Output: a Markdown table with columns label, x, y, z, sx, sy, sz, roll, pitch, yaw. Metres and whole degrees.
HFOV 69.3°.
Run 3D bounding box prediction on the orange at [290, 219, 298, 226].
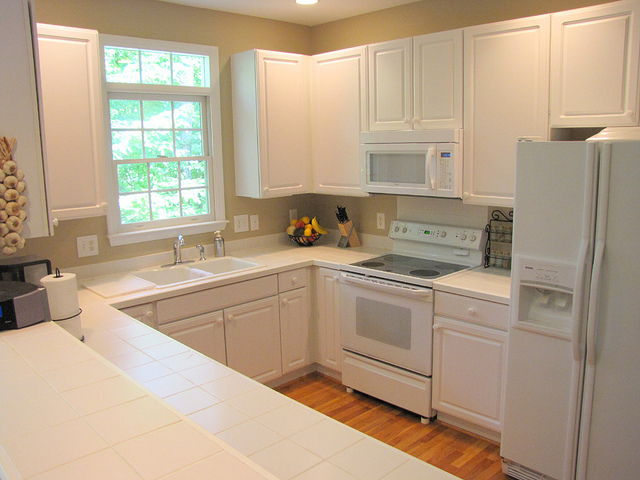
| label | x | y | z | sx | sy | sz | roll | pitch | yaw |
| --- | --- | --- | --- | --- | --- | --- | --- | --- | --- |
| orange | -0.249 | -0.170 | 4.359 | 0.058 | 0.069 | 0.056 | 15 | 28 | 32 |

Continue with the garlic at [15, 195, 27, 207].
| label | x | y | z | sx | sy | sz | roll | pitch | yaw |
| --- | --- | --- | --- | --- | --- | --- | --- | --- | --- |
| garlic | -1.462 | -0.188 | 2.275 | 0.027 | 0.047 | 0.048 | -13 | 18 | 48 |

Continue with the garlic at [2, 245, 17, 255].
| label | x | y | z | sx | sy | sz | roll | pitch | yaw |
| --- | --- | --- | --- | --- | --- | --- | --- | --- | --- |
| garlic | -1.552 | 0.055 | 2.314 | 0.065 | 0.037 | 0.082 | -5 | -6 | -9 |

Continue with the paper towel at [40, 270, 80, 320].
| label | x | y | z | sx | sy | sz | roll | pitch | yaw |
| --- | --- | --- | --- | --- | --- | --- | --- | --- | --- |
| paper towel | -1.255 | 0.272 | 2.245 | 0.142 | 0.203 | 0.113 | -10 | 15 | -33 |

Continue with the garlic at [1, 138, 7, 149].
| label | x | y | z | sx | sy | sz | roll | pitch | yaw |
| --- | --- | --- | --- | --- | --- | --- | --- | --- | --- |
| garlic | -1.505 | -0.460 | 2.214 | 0.008 | 0.043 | 0.010 | -16 | 1 | 45 |

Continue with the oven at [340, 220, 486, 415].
| label | x | y | z | sx | sy | sz | roll | pitch | yaw |
| --- | --- | --- | --- | --- | --- | --- | --- | --- | --- |
| oven | 0.672 | 0.560 | 3.575 | 0.844 | 1.310 | 0.735 | 11 | 17 | 43 |

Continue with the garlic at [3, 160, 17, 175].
| label | x | y | z | sx | sy | sz | roll | pitch | yaw |
| --- | --- | --- | --- | --- | --- | --- | --- | --- | --- |
| garlic | -1.484 | -0.344 | 2.218 | 0.059 | 0.058 | 0.034 | 11 | -3 | -40 |

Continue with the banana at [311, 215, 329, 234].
| label | x | y | z | sx | sy | sz | roll | pitch | yaw |
| --- | --- | --- | --- | --- | --- | --- | --- | --- | --- |
| banana | 0.004 | -0.128 | 4.389 | 0.139 | 0.163 | 0.256 | 1 | 12 | 10 |

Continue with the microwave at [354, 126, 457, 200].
| label | x | y | z | sx | sy | sz | roll | pitch | yaw |
| --- | --- | --- | --- | --- | --- | --- | --- | --- | --- |
| microwave | 0.633 | -0.571 | 3.411 | 0.905 | 0.572 | 0.552 | 6 | 9 | 44 |

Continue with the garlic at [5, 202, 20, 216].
| label | x | y | z | sx | sy | sz | roll | pitch | yaw |
| --- | --- | --- | --- | --- | --- | --- | --- | --- | --- |
| garlic | -1.491 | -0.148 | 2.251 | 0.047 | 0.061 | 0.035 | 13 | -37 | -31 |

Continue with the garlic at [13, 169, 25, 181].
| label | x | y | z | sx | sy | sz | roll | pitch | yaw |
| --- | --- | --- | --- | --- | --- | --- | --- | --- | --- |
| garlic | -1.465 | -0.314 | 2.255 | 0.048 | 0.046 | 0.026 | 13 | 0 | -9 |

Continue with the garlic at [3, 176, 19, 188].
| label | x | y | z | sx | sy | sz | roll | pitch | yaw |
| --- | --- | --- | --- | --- | --- | --- | --- | --- | --- |
| garlic | -1.486 | -0.277 | 2.230 | 0.051 | 0.050 | 0.018 | 5 | 9 | -29 |

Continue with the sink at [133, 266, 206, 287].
| label | x | y | z | sx | sy | sz | roll | pitch | yaw |
| --- | --- | --- | --- | --- | --- | --- | --- | --- | --- |
| sink | -1.151 | 0.279 | 3.533 | 0.241 | 0.146 | 0.232 | 10 | 13 | 40 |

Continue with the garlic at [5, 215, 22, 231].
| label | x | y | z | sx | sy | sz | roll | pitch | yaw |
| --- | --- | --- | --- | --- | --- | --- | --- | --- | --- |
| garlic | -1.488 | -0.084 | 2.245 | 0.054 | 0.063 | 0.026 | -4 | 3 | -40 |

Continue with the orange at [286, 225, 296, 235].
| label | x | y | z | sx | sy | sz | roll | pitch | yaw |
| --- | --- | --- | --- | --- | --- | --- | --- | --- | --- |
| orange | -0.278 | -0.090 | 4.298 | 0.077 | 0.090 | 0.077 | 13 | 19 | 29 |

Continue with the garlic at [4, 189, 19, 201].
| label | x | y | z | sx | sy | sz | roll | pitch | yaw |
| --- | --- | --- | --- | --- | --- | --- | --- | --- | --- |
| garlic | -1.492 | -0.216 | 2.239 | 0.048 | 0.052 | 0.019 | -8 | 12 | -38 |

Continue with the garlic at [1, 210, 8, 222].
| label | x | y | z | sx | sy | sz | roll | pitch | yaw |
| --- | --- | --- | --- | --- | --- | --- | --- | --- | --- |
| garlic | -1.524 | -0.114 | 2.237 | 0.010 | 0.058 | 0.031 | 6 | 14 | 28 |

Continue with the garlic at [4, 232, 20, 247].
| label | x | y | z | sx | sy | sz | roll | pitch | yaw |
| --- | --- | --- | --- | --- | --- | --- | --- | --- | --- |
| garlic | -1.504 | 0.000 | 2.269 | 0.026 | 0.060 | 0.062 | 7 | -9 | 38 |
